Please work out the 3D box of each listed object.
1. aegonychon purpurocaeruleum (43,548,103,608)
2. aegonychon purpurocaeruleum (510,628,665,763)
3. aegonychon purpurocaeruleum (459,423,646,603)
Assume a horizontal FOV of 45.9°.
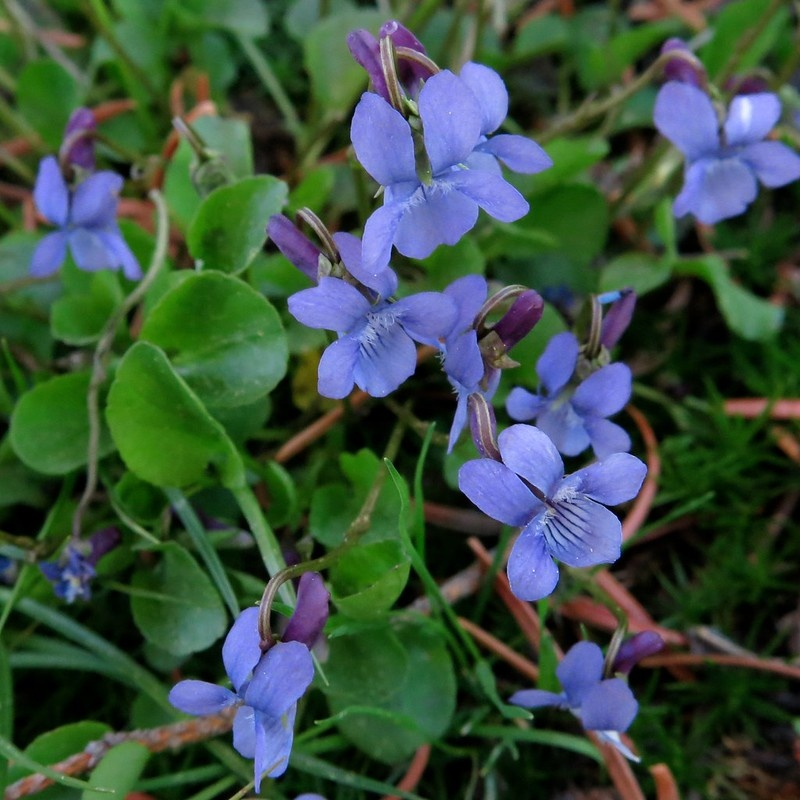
[{"bbox_3d":[-0.424,0.229,1.240,0.068,0.035,0.074,-18,54,-40],"label":"aegonychon purpurocaeruleum"},{"bbox_3d":[0.258,0.374,1.201,0.167,0.074,0.178,3,62,40],"label":"aegonychon purpurocaeruleum"},{"bbox_3d":[0.208,0.166,1.255,0.203,0.427,0.183,-29,70,-3],"label":"aegonychon purpurocaeruleum"}]
